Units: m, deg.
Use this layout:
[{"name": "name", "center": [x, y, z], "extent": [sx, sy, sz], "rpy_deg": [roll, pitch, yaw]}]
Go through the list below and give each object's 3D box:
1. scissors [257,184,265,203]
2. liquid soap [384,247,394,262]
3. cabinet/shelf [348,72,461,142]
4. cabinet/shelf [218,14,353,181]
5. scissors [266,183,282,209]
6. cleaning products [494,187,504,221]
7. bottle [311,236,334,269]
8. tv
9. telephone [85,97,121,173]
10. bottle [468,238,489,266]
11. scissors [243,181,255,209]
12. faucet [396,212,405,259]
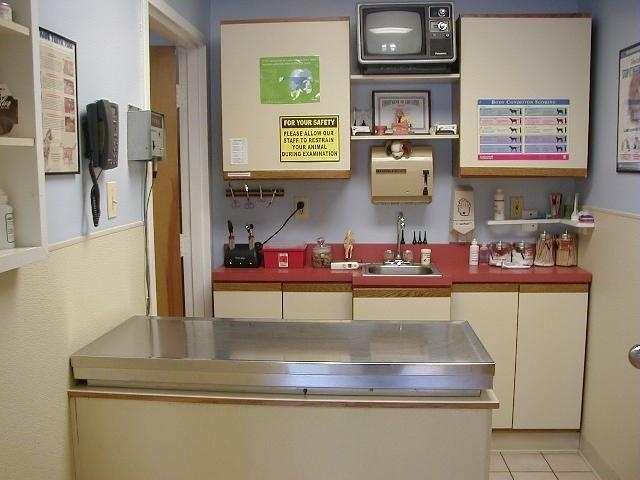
[{"name": "scissors", "center": [-0.411, -0.320, 3.813], "extent": [0.031, 0.111, 0.069], "rpy_deg": [-1, 10, -7]}, {"name": "liquid soap", "center": [0.465, 0.096, 3.736], "extent": [0.068, 0.119, 0.073], "rpy_deg": [1, -4, -2]}, {"name": "cabinet/shelf", "center": [0.555, -0.877, 3.603], "extent": [0.699, 0.409, 0.321], "rpy_deg": [1, 10, 2]}, {"name": "cabinet/shelf", "center": [-0.215, -0.908, 3.465], "extent": [0.962, 1.207, 0.406], "rpy_deg": [0, 1, 0]}, {"name": "scissors", "center": [-0.319, -0.299, 3.822], "extent": [0.116, 0.138, 0.073], "rpy_deg": [-2, 10, -10]}, {"name": "cleaning products", "center": [1.237, -0.248, 3.746], "extent": [0.074, 0.213, 0.155], "rpy_deg": [3, 10, 18]}, {"name": "bottle", "center": [0.037, 0.084, 3.644], "extent": [0.162, 0.316, 0.178], "rpy_deg": [-1, 0, 10]}, {"name": "tv", "center": [0.527, -1.272, 3.381], "extent": [0.630, 0.433, 0.366], "rpy_deg": [0, 2, 3]}, {"name": "telephone", "center": [-0.884, -0.433, 2.233], "extent": [0.162, 0.275, 0.108], "rpy_deg": [-9, 13, -42]}, {"name": "bottle", "center": [1.075, 0.087, 3.712], "extent": [0.172, 0.253, 0.095], "rpy_deg": [-1, 2, -9]}, {"name": "scissors", "center": [-0.501, -0.305, 3.797], "extent": [0.062, 0.163, 0.110], "rpy_deg": [0, 10, -1]}, {"name": "faucet", "center": [0.558, -0.026, 3.777], "extent": [0.054, 0.324, 0.168], "rpy_deg": [1, 10, 8]}]
